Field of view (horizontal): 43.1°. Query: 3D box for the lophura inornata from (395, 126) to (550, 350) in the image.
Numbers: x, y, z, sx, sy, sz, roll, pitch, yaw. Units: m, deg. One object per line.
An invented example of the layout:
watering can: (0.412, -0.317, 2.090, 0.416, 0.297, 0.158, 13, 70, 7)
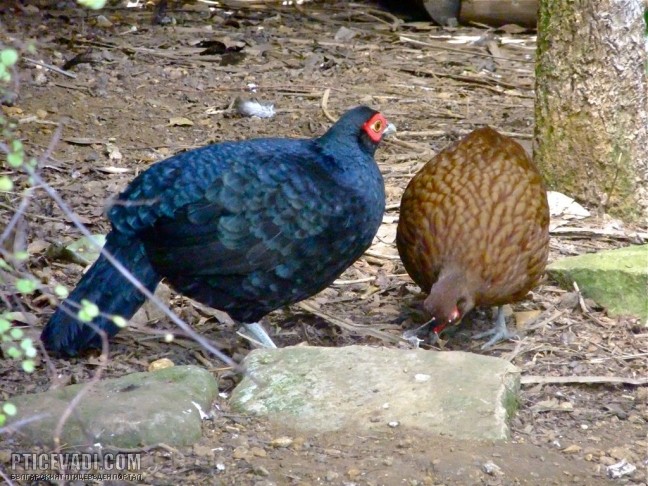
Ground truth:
lophura inornata: (1.071, -0.023, 5.588, 1.060, 1.335, 1.194, 11, -6, 29)
